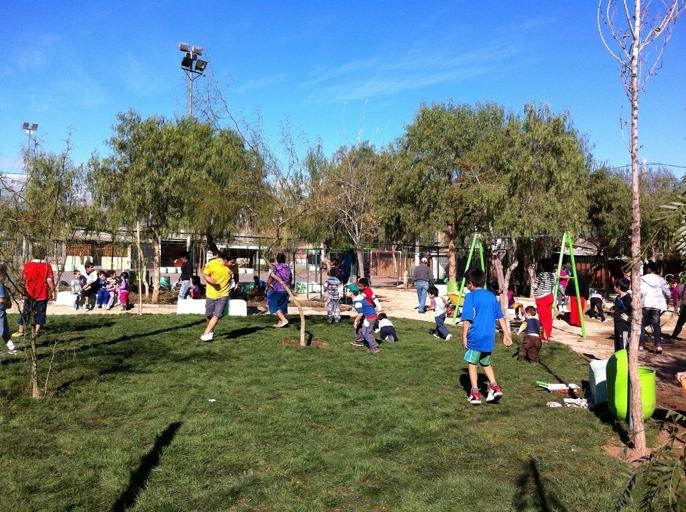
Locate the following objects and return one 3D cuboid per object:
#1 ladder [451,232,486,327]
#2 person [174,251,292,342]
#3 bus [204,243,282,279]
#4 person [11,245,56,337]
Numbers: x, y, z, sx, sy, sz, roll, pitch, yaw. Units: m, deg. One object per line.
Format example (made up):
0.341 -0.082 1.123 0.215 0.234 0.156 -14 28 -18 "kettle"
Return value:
3.926 0.536 16.997 0.779 3.358 0.977 3 5 14 "ladder"
-2.907 0.936 12.480 0.775 2.028 0.866 0 5 -14 "person"
-5.464 0.574 29.962 3.959 2.805 2.844 4 3 -18 "bus"
-6.039 0.720 10.460 0.614 2.027 0.957 0 0 -7 "person"
